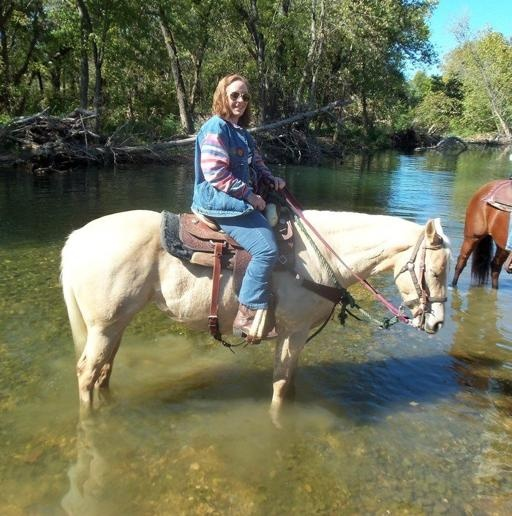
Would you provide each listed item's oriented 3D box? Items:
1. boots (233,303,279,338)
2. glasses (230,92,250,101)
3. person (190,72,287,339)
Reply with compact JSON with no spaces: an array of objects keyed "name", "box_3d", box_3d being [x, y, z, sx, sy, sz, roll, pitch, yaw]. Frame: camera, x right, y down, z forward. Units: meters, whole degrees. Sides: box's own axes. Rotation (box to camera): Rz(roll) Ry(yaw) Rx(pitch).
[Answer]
[{"name":"boots","box_3d":[0.015,0.580,4.276,0.421,0.372,0.240,1,1,2]},{"name":"glasses","box_3d":[-0.129,-1.405,4.060,0.079,0.074,0.199,11,15,39]},{"name":"person","box_3d":[-0.180,-0.424,4.200,0.784,2.380,0.778,-2,13,-11]}]
